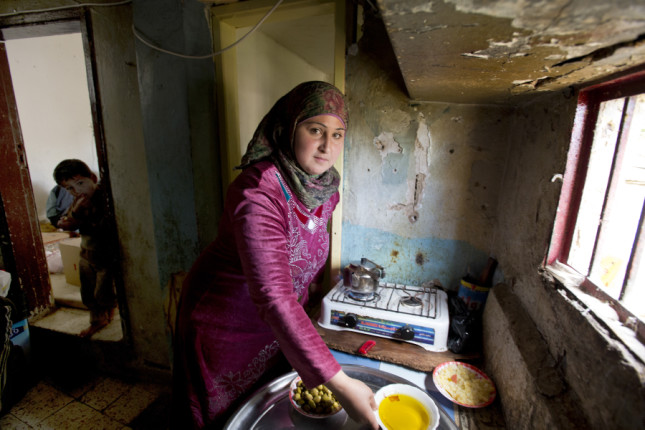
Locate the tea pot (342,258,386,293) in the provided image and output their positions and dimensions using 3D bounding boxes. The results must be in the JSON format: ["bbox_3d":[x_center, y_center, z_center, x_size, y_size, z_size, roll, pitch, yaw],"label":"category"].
[{"bbox_3d":[0.249,0.305,2.659,0.270,0.182,0.233,-6,14,-39],"label":"tea pot"}]

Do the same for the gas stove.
[{"bbox_3d":[0.369,0.545,2.603,0.699,0.210,0.497,5,11,17],"label":"gas stove"}]

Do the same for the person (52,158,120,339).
[{"bbox_3d":[-1.817,0.253,3.581,0.321,1.327,0.406,-8,16,-38],"label":"person"}]
